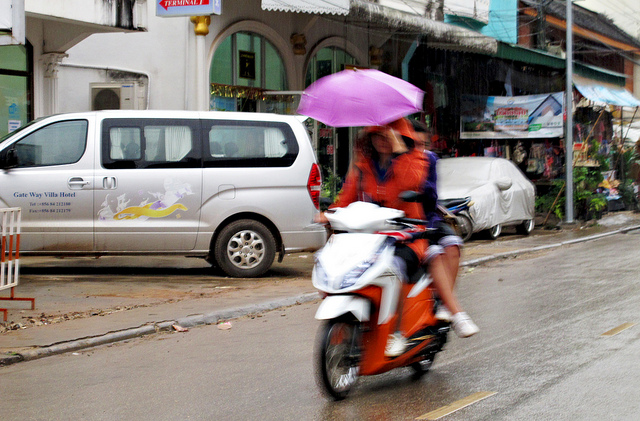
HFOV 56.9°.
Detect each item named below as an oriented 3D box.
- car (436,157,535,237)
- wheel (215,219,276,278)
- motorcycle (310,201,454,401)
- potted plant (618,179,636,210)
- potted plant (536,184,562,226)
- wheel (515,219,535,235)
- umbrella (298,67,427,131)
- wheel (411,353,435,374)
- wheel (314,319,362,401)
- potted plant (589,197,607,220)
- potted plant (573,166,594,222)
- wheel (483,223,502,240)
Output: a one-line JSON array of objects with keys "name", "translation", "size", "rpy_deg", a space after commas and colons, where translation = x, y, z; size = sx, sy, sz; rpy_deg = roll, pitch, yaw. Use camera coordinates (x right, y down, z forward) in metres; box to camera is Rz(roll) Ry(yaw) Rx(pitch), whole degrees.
[{"name": "car", "translation": [4.576, -0.459, 16.481], "size": [2.393, 1.789, 3.773], "rpy_deg": [-1, -5, 33]}, {"name": "wheel", "translation": [-1.394, 0.662, 10.959], "size": [1.026, 1.085, 0.374], "rpy_deg": [0, 5, -5]}, {"name": "motorcycle", "translation": [0.495, 0.840, 5.497], "size": [1.373, 1.842, 0.489], "rpy_deg": [-4, 3, -33]}, {"name": "potted plant", "translation": [12.435, -0.638, 23.854], "size": [1.030, 1.171, 0.416], "rpy_deg": [-5, 4, -45]}, {"name": "potted plant", "translation": [7.778, -0.169, 19.964], "size": [0.435, 1.088, 1.093], "rpy_deg": [13, -15, -19]}, {"name": "wheel", "translation": [6.071, 0.492, 17.557], "size": [0.503, 0.456, 0.706], "rpy_deg": [-1, 3, 18]}, {"name": "umbrella", "translation": [0.393, -1.214, 6.401], "size": [1.343, 0.502, 1.300], "rpy_deg": [15, 25, 43]}, {"name": "wheel", "translation": [1.074, 1.580, 6.098], "size": [0.195, 0.235, 0.265], "rpy_deg": [-1, -12, 18]}, {"name": "wheel", "translation": [0.158, 1.372, 5.424], "size": [0.446, 0.819, 0.365], "rpy_deg": [-3, 3, -9]}, {"name": "potted plant", "translation": [9.499, -0.060, 20.374], "size": [0.716, 0.873, 0.720], "rpy_deg": [-1, 5, 28]}, {"name": "potted plant", "translation": [9.043, -0.567, 20.284], "size": [0.613, 1.817, 1.082], "rpy_deg": [-1, 3, 24]}, {"name": "wheel", "translation": [4.774, 0.591, 16.314], "size": [0.508, 0.440, 0.555], "rpy_deg": [-2, 3, 0]}]
